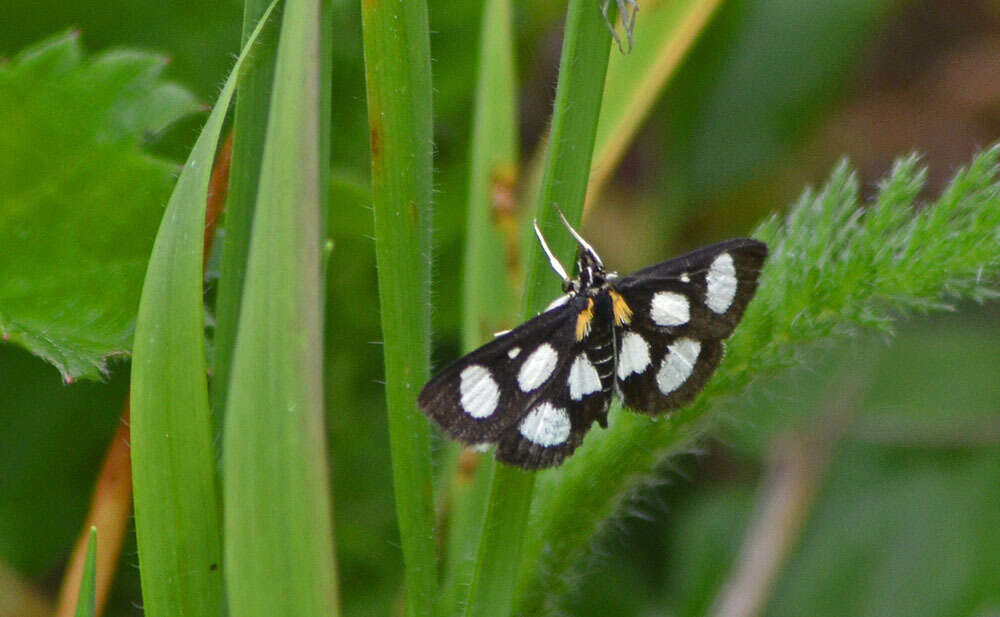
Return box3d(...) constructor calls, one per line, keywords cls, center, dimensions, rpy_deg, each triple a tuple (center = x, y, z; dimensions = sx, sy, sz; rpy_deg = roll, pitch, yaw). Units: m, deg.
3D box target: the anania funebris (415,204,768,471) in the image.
box3d(cls="anania funebris", center=(0.085, 0.012, 0.932), dimensions=(0.327, 0.228, 0.078), rpy_deg=(-27, 22, 1))
